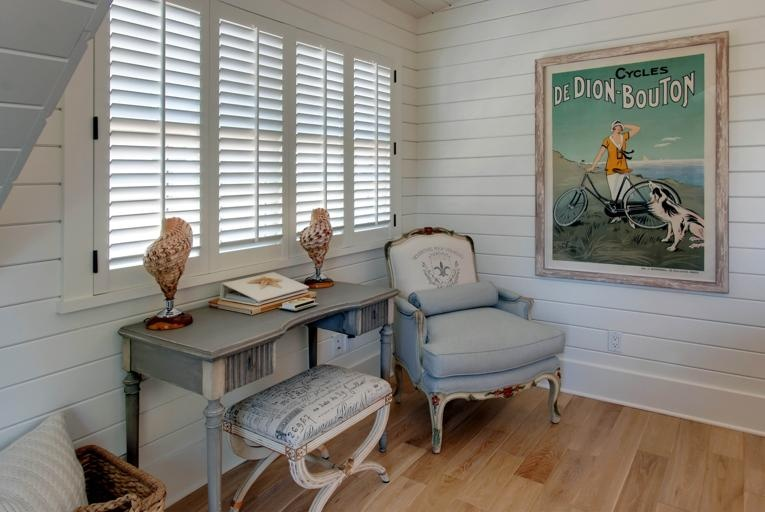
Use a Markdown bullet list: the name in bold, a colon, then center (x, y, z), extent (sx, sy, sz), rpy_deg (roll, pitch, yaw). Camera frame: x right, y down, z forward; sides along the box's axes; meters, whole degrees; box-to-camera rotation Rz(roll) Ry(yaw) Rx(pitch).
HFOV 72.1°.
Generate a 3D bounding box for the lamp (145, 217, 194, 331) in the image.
- **lamp**: center (-1.039, 0.083, 2.566), extent (0.179, 0.525, 0.237), rpy_deg (2, 11, 28)

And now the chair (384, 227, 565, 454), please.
- **chair**: center (0.535, 0.452, 3.601), extent (0.905, 1.198, 1.117), rpy_deg (-6, 9, -21)

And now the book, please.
- **book**: center (-0.630, 0.161, 2.877), extent (0.261, 0.109, 0.351), rpy_deg (3, 7, 32)
